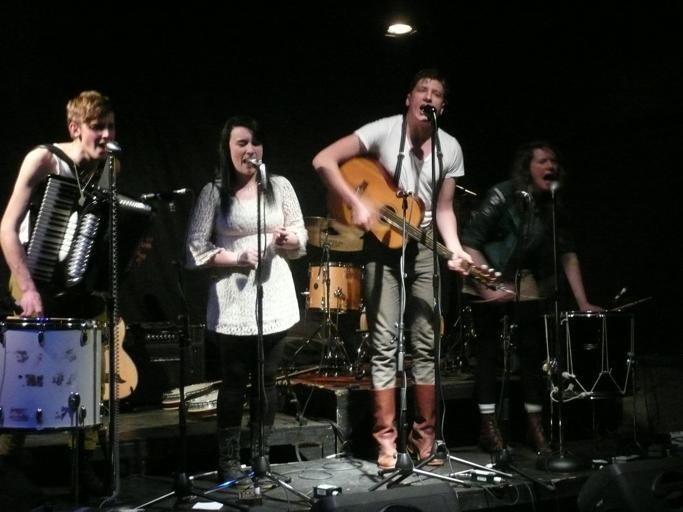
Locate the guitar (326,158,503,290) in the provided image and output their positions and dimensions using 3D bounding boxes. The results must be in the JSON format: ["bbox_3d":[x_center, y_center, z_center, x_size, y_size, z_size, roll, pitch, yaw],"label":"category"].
[{"bbox_3d":[0.478,-0.274,5.878,0.613,1.583,0.221,-52,-20,16],"label":"guitar"}]

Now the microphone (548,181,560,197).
[{"bbox_3d":[1.592,-0.508,5.914,0.056,0.136,0.141,-3,-30,11],"label":"microphone"}]

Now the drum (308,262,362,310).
[{"bbox_3d":[-0.064,0.327,7.922,0.462,0.358,0.480,1,-8,0],"label":"drum"}]

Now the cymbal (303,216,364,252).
[{"bbox_3d":[-0.061,-0.220,6.222,0.340,0.086,0.353,12,-23,13],"label":"cymbal"}]

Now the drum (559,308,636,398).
[{"bbox_3d":[2.019,0.802,6.562,0.663,0.672,0.614,2,-3,-37],"label":"drum"}]

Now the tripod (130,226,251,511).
[{"bbox_3d":[-1.199,0.888,6.026,0.653,2.002,1.870,0,-14,-14],"label":"tripod"}]
